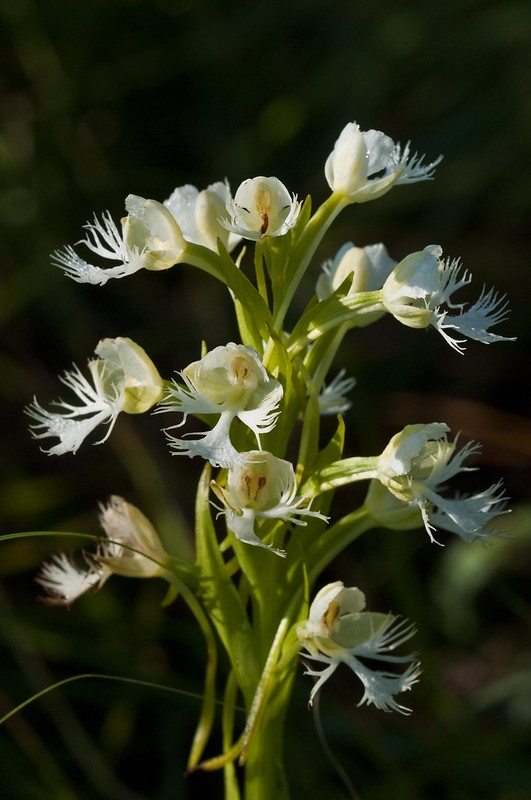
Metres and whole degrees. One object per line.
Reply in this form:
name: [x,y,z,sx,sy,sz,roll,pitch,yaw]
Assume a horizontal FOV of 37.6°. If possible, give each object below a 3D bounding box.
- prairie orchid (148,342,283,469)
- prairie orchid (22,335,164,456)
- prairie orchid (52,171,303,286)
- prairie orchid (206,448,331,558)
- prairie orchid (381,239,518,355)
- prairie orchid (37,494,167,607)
prairie orchid: [-0.046,-0.005,1.151,0.144,0.167,0.061,-6,38,-40]
prairie orchid: [-0.286,-0.009,1.210,0.181,0.149,0.264,-21,14,-27]
prairie orchid: [-0.133,-0.263,1.162,0.331,0.092,0.231,-6,-8,-14]
prairie orchid: [-0.019,0.148,1.107,0.133,0.054,0.145,-20,39,-26]
prairie orchid: [0.280,-0.156,1.170,0.212,0.164,0.086,-22,14,-29]
prairie orchid: [-0.270,0.250,1.259,0.213,0.169,0.084,-24,-28,9]
